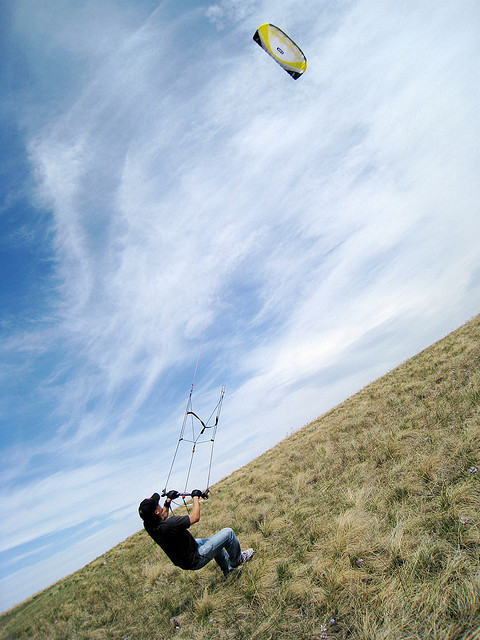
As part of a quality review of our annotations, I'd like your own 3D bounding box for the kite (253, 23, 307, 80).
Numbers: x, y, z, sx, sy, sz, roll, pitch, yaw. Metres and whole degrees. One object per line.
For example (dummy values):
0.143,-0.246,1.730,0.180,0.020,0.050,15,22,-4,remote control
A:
1.251,-7.786,16.243,0.762,1.174,1.831,-30,-22,26,kite
